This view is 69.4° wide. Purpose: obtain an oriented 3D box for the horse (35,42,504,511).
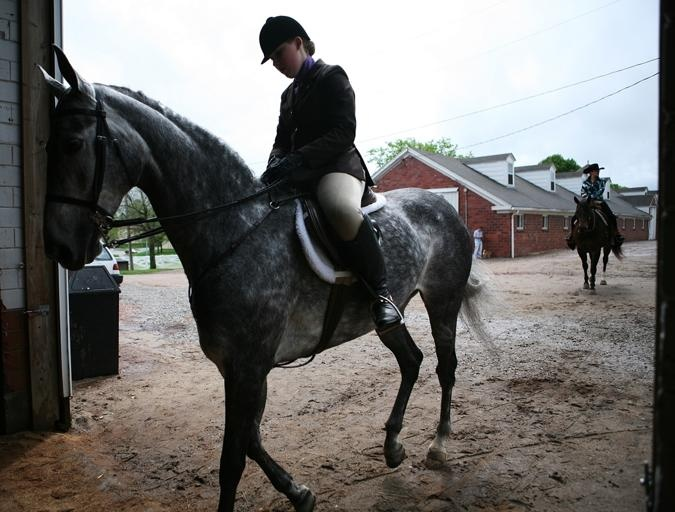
[{"bbox_3d":[-0.343,0.272,3.501,2.937,3.122,0.979,-5,6,-37],"label":"horse"}]
